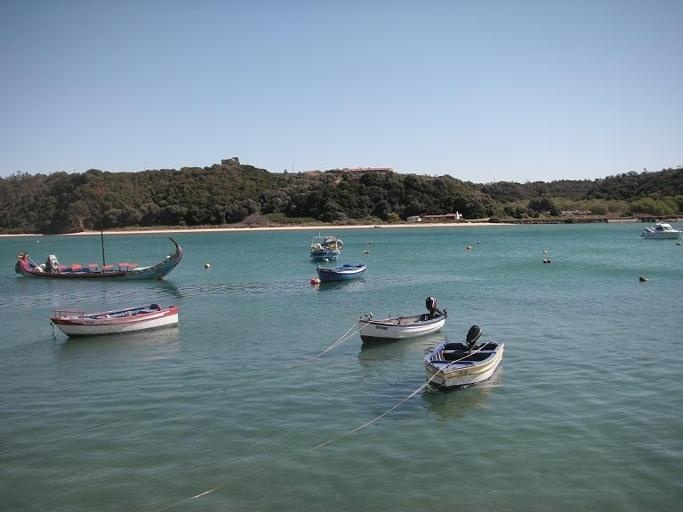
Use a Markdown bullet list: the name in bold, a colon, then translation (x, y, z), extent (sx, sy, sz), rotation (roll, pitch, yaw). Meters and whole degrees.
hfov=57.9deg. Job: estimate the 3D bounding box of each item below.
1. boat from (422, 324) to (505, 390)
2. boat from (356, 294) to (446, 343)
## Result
- **boat**: translation (6.403, 5.406, 33.294), extent (3.076, 2.863, 4.418), rotation (-2, 3, 28)
- **boat**: translation (4.010, 4.192, 41.320), extent (6.191, 2.677, 1.768), rotation (-5, 3, -37)
